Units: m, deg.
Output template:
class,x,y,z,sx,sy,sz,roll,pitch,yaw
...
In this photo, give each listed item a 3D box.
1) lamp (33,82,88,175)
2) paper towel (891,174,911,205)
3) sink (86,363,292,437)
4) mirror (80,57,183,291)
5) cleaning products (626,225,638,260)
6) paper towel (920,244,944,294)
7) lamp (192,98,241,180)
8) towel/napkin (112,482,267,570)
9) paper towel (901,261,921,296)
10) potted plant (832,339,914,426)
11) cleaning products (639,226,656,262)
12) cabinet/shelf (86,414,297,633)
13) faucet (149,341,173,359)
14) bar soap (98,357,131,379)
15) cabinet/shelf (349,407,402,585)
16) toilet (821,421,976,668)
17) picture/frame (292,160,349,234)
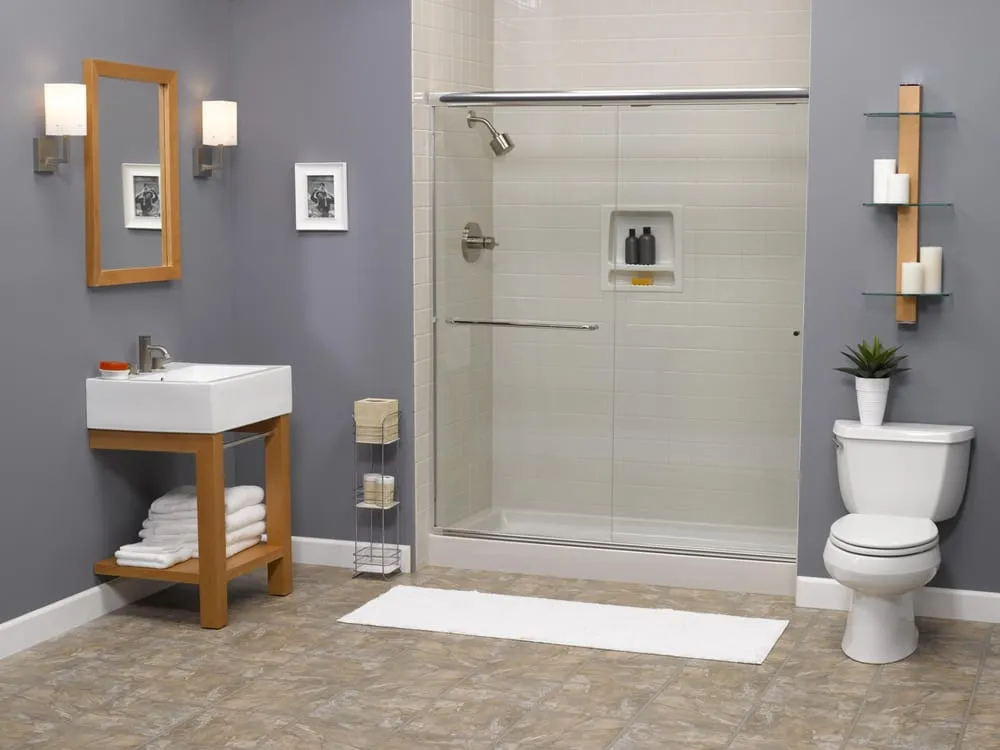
class,x,y,z,sx,sy,sz,roll,pitch,yaw
lamp,-1.857,-1.037,3.462,0.186,0.400,0.186,5,9,37
paper towel,1.768,-0.817,3.648,0.087,0.138,0.050,-5,8,-32
sink,-1.442,0.114,3.686,0.430,0.155,0.484,3,6,17
mirror,-1.742,-0.932,3.897,0.118,1.050,0.563,2,7,16
cleaning products,0.695,-0.674,4.363,0.073,0.180,0.038,1,7,9
paper towel,1.892,-0.439,3.680,0.102,0.160,0.101,-9,4,-30
lamp,-1.462,-1.231,4.356,0.202,0.412,0.297,2,7,16
towel/napkin,-1.455,0.729,3.855,0.418,0.163,0.416,0,4,7
paper towel,1.823,-0.418,3.655,0.092,0.142,0.047,2,8,21
potted plant,1.735,0.034,3.883,0.350,0.395,0.391,2,0,25
cleaning products,0.773,-0.674,4.349,0.078,0.204,0.031,0,7,6
cabinet/shelf,-1.518,0.646,4.131,0.901,0.939,0.902,1,2,20
faucet,-1.633,-0.097,3.928,0.087,0.085,0.213,-3,7,-20
bar soap,-1.765,-0.026,3.746,0.105,0.060,0.090,-2,6,-9
cabinet/shelf,-0.677,0.597,4.334,0.280,0.927,0.262,0,7,1
toilet,1.683,0.713,3.588,0.614,0.888,0.894,2,8,36
picture/frame,-0.951,-0.946,4.377,0.392,0.459,0.033,1,4,11
